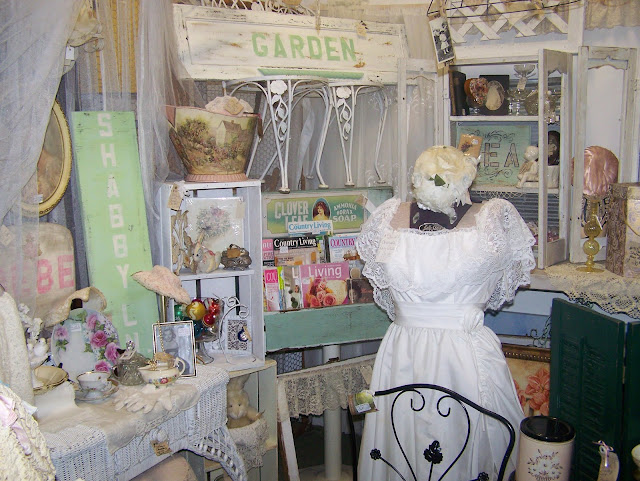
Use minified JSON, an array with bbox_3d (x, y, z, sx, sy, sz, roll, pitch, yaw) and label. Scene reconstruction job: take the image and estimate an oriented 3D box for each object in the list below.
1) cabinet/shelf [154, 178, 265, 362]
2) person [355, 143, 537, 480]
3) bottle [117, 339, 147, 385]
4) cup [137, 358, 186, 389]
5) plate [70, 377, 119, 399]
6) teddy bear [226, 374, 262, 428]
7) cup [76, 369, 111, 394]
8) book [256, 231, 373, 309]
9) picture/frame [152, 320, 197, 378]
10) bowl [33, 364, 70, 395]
[{"bbox_3d":[-0.580,0.173,2.855,0.563,1.002,0.391,-7,8,-19],"label":"cabinet/shelf"},{"bbox_3d":[0.525,0.364,2.374,0.825,1.556,0.594,-2,8,21],"label":"person"},{"bbox_3d":[-0.782,0.530,2.219,0.100,0.148,0.156,0,0,-30],"label":"bottle"},{"bbox_3d":[-0.659,0.552,2.194,0.124,0.073,0.097,-3,-4,-32],"label":"cup"},{"bbox_3d":[-0.902,0.573,2.128,0.104,0.048,0.109,1,5,7],"label":"plate"},{"bbox_3d":[-0.440,0.960,2.909,0.170,0.238,0.149,-6,6,-12],"label":"teddy bear"},{"bbox_3d":[-0.918,0.570,2.129,0.081,0.045,0.082,2,4,0],"label":"cup"},{"bbox_3d":[-0.053,0.185,3.004,0.405,0.297,0.047,-4,-12,-17],"label":"book"},{"bbox_3d":[-0.634,0.480,2.297,0.218,0.298,0.020,0,-11,-3],"label":"picture/frame"},{"bbox_3d":[-1.085,0.561,2.112,0.101,0.026,0.107,3,22,-1],"label":"bowl"}]
